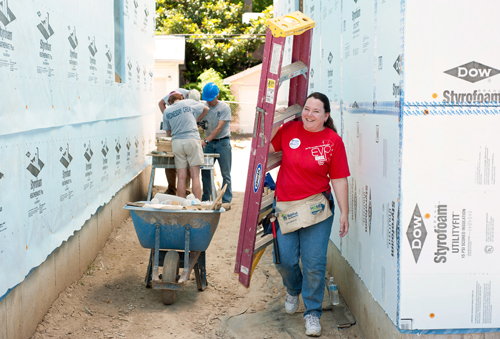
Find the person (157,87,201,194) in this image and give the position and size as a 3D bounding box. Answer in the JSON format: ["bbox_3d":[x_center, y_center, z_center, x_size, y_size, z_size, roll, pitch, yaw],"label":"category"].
[{"bbox_3d":[-1.610,-0.632,9.275,0.938,2.697,0.764,13,-36,-19],"label":"person"}]

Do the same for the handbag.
[{"bbox_3d":[0.510,0.427,4.150,0.458,0.407,0.173,-12,1,8],"label":"handbag"}]

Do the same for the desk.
[{"bbox_3d":[-1.298,-0.006,7.970,1.247,1.029,1.037,-1,6,-10],"label":"desk"}]

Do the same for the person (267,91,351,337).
[{"bbox_3d":[0.579,0.420,4.438,0.799,2.387,0.575,12,17,40],"label":"person"}]

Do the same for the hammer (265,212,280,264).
[{"bbox_3d":[0.228,0.708,4.420,0.078,0.487,0.112,-12,-12,43],"label":"hammer"}]

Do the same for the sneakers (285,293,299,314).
[{"bbox_3d":[0.455,1.456,4.686,0.096,0.280,0.123,4,1,23],"label":"sneakers"}]

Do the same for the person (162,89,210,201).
[{"bbox_3d":[-1.114,-0.369,7.475,0.765,1.640,0.605,0,13,-7],"label":"person"}]

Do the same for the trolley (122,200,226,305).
[{"bbox_3d":[-0.851,0.933,5.134,0.864,0.824,1.298,5,-1,2],"label":"trolley"}]
